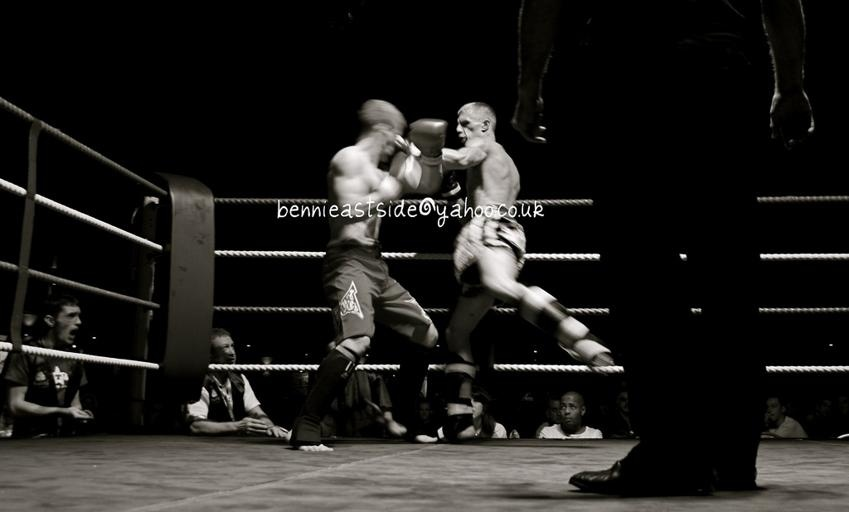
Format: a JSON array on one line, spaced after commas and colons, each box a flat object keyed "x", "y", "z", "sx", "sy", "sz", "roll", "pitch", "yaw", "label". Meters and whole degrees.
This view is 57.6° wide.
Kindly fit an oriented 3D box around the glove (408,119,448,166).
[{"x": 0.024, "y": -0.650, "z": 4.268, "sx": 0.223, "sy": 0.236, "sz": 0.289, "roll": -5, "pitch": 13, "yaw": -38, "label": "glove"}]

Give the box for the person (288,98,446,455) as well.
[{"x": -0.287, "y": 0.019, "z": 4.031, "sx": 0.403, "sy": 1.907, "sz": 0.810, "roll": -10, "pitch": -16, "yaw": 36, "label": "person"}]

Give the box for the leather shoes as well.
[{"x": 0.822, "y": 0.726, "z": 2.534, "sx": 0.654, "sy": 0.116, "sz": 0.169, "roll": 1, "pitch": -11, "yaw": -7, "label": "leather shoes"}]
